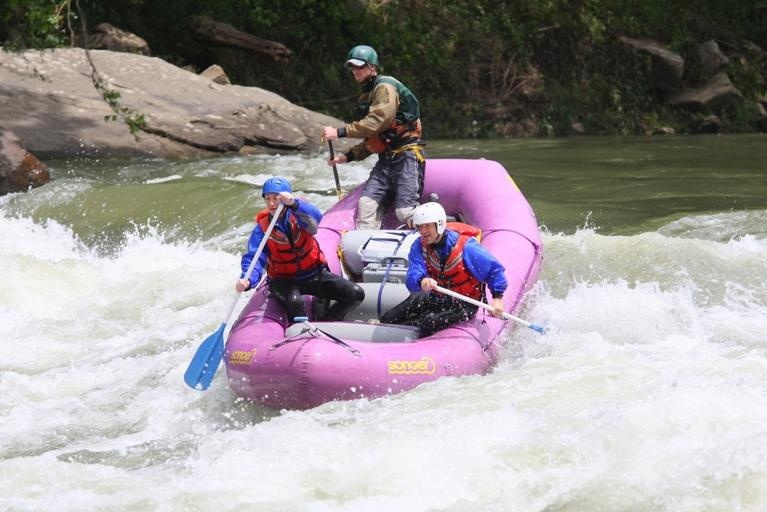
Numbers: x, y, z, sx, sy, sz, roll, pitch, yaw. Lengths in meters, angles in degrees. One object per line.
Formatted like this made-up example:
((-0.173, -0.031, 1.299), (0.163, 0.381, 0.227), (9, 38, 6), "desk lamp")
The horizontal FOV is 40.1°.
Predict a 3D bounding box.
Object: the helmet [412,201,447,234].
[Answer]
((0.540, -0.464, 12.491), (0.313, 0.315, 0.430), (2, 7, 41), "helmet")

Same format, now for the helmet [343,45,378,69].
((-0.231, -2.634, 13.591), (0.371, 0.235, 0.511), (1, 1, 42), "helmet")

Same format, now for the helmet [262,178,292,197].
((-1.252, -0.854, 12.702), (0.247, 0.190, 0.327), (-7, -18, 31), "helmet")
